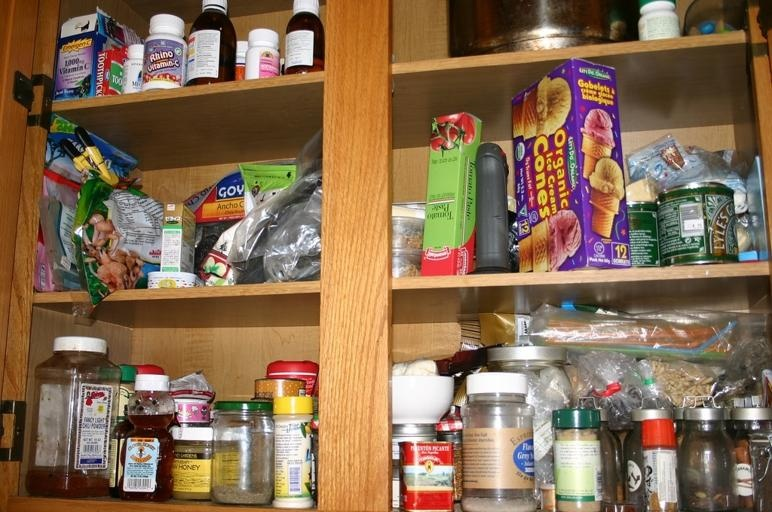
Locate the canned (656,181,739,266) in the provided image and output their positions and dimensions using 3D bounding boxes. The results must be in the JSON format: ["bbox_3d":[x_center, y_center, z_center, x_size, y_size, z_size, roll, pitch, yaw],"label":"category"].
[{"bbox_3d":[0.655,-0.064,1.568,0.171,0.184,0.170,-3,-14,15],"label":"canned"}]

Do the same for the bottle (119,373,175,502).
[{"bbox_3d":[-0.528,0.399,1.562,0.113,0.270,0.054,0,-12,-16],"label":"bottle"}]

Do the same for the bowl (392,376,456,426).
[{"bbox_3d":[0.077,0.318,1.521,0.108,0.063,0.111,0,-16,0],"label":"bowl"}]

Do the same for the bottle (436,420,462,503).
[{"bbox_3d":[0.150,0.445,1.542,0.070,0.179,0.036,-14,-15,41],"label":"bottle"}]

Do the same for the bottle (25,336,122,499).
[{"bbox_3d":[-0.712,0.383,1.610,0.192,0.317,0.099,1,-12,-21],"label":"bottle"}]
